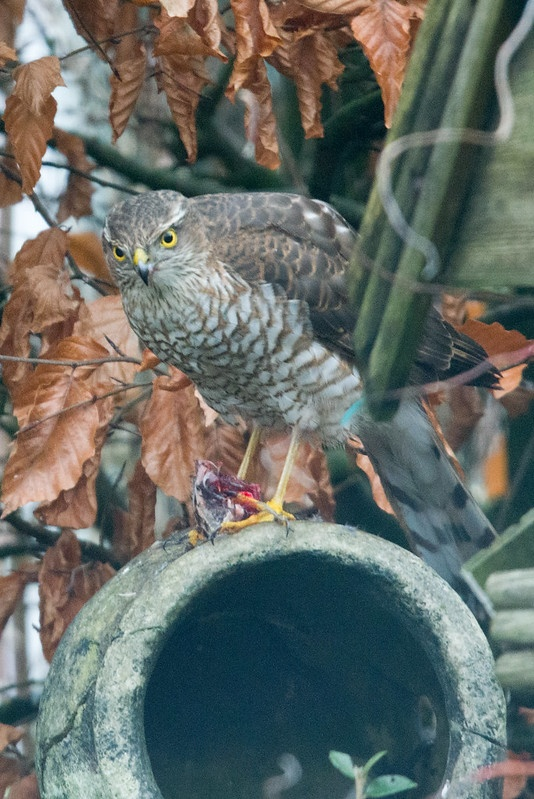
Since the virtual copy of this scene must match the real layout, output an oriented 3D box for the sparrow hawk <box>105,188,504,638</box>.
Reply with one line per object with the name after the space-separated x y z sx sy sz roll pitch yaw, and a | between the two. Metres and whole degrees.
0.110 0.018 2.552 0.925 0.812 0.400 -6 12 -34 | sparrow hawk
